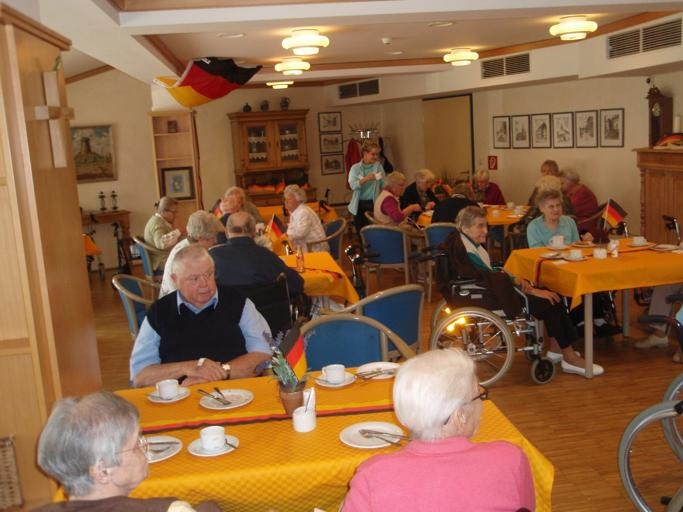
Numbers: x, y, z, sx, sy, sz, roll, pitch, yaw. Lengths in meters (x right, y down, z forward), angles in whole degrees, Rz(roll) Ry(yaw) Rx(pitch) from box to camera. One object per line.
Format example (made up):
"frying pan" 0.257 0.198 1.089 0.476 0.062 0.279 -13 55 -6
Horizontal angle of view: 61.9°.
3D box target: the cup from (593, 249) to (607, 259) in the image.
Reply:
"cup" 2.188 -0.020 4.825 0.106 0.062 0.098 0 1 0

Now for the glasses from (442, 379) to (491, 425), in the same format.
"glasses" 0.417 0.477 1.786 0.145 0.037 0.137 -30 3 -12

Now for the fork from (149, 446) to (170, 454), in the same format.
"fork" -0.698 0.733 2.164 0.024 0.008 0.056 6 1 9

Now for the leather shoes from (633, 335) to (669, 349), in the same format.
"leather shoes" 2.761 0.769 5.116 0.327 0.116 0.112 0 4 1

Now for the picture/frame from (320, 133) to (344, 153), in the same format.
"picture/frame" -0.270 -2.687 13.543 0.578 0.395 0.073 -2 5 -21

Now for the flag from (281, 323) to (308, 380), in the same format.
"flag" -0.194 0.385 2.399 0.153 0.031 0.321 10 46 -20

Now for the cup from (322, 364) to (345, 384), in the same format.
"cup" -0.038 0.554 2.679 0.108 0.063 0.074 -2 8 -2

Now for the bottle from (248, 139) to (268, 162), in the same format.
"bottle" -1.770 -2.220 12.018 0.463 0.272 0.428 0 1 0

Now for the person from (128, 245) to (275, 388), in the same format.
"person" -0.823 0.351 3.196 0.879 0.645 0.593 -6 23 -33

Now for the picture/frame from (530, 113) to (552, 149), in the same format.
"picture/frame" 3.364 -2.114 9.611 0.021 0.539 0.408 -16 17 -28

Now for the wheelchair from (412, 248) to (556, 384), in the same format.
"wheelchair" 1.148 0.483 4.692 1.101 0.998 0.818 -9 9 -5

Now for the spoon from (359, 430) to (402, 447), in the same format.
"spoon" 0.145 0.684 2.178 0.179 0.023 0.052 2 14 41

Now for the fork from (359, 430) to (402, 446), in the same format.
"fork" 0.155 0.686 2.166 0.191 0.024 0.050 6 7 28

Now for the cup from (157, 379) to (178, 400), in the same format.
"cup" -0.782 0.606 2.605 0.100 0.066 0.077 2 4 38

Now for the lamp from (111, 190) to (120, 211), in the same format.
"lamp" -4.112 -1.017 10.298 0.137 0.334 0.296 -11 15 -19

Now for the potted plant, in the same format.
"potted plant" -0.211 0.505 2.416 0.179 0.349 0.157 -2 -16 -19

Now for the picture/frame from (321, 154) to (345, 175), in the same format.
"picture/frame" -0.242 -2.210 13.613 0.584 0.423 0.054 -3 6 -20

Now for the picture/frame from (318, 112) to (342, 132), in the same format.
"picture/frame" -0.303 -3.178 13.471 0.571 0.414 0.054 -1 5 -19

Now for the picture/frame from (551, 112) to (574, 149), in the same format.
"picture/frame" 3.602 -2.040 9.291 0.017 0.560 0.441 -18 18 -23

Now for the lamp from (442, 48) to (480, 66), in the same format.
"lamp" 1.662 -2.857 8.142 0.559 0.218 0.517 -1 3 -1

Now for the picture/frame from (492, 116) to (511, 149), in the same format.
"picture/frame" 2.912 -2.250 10.361 0.105 0.590 0.455 -11 15 -18

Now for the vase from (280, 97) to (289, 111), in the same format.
"vase" -1.293 -3.347 12.523 0.295 0.250 0.211 -1 2 -29

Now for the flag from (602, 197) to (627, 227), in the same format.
"flag" 2.550 -0.403 5.323 0.151 0.296 0.372 2 15 27

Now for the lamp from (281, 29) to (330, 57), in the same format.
"lamp" -0.397 -2.268 6.007 0.439 0.247 0.438 -6 13 -6

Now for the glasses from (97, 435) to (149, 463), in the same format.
"glasses" -0.659 0.591 1.747 0.112 0.031 0.082 -7 1 29

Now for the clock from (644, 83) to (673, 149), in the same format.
"clock" 4.263 -1.880 7.634 0.315 0.769 0.327 1 16 24

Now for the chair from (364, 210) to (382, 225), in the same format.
"chair" 0.413 -0.511 7.593 0.198 0.214 0.206 -8 20 -4

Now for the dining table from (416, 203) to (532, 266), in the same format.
"dining table" 1.401 -0.243 6.072 0.932 0.516 0.824 -1 8 -1

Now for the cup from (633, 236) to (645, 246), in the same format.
"cup" 2.728 -0.138 5.195 0.102 0.059 0.077 4 0 0

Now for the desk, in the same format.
"desk" -4.221 -0.294 10.518 0.666 1.128 1.296 -4 10 -24

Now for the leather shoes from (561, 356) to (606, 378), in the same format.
"leather shoes" 1.965 0.893 4.612 0.288 0.097 0.128 -1 7 13

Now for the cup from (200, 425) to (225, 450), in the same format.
"cup" -0.484 0.681 2.137 0.103 0.060 0.071 -3 11 -20

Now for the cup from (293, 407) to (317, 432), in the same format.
"cup" -0.151 0.640 2.257 0.096 0.064 0.089 0 1 0

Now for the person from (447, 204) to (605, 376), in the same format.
"person" 1.382 0.329 4.762 1.635 1.494 0.877 3 25 11

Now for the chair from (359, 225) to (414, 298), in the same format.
"chair" 0.598 -0.031 7.023 0.688 0.895 0.741 8 23 34

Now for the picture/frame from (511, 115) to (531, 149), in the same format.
"picture/frame" 3.136 -2.163 9.970 0.097 0.569 0.437 -11 15 -18

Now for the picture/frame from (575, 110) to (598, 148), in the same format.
"picture/frame" 3.828 -1.979 8.896 0.112 0.544 0.462 -9 14 -14

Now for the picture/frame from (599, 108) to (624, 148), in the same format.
"picture/frame" 4.035 -1.910 8.495 0.103 0.559 0.458 -10 15 -16

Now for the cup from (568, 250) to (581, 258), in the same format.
"cup" 1.962 -0.017 4.780 0.085 0.059 0.083 0 -1 0
